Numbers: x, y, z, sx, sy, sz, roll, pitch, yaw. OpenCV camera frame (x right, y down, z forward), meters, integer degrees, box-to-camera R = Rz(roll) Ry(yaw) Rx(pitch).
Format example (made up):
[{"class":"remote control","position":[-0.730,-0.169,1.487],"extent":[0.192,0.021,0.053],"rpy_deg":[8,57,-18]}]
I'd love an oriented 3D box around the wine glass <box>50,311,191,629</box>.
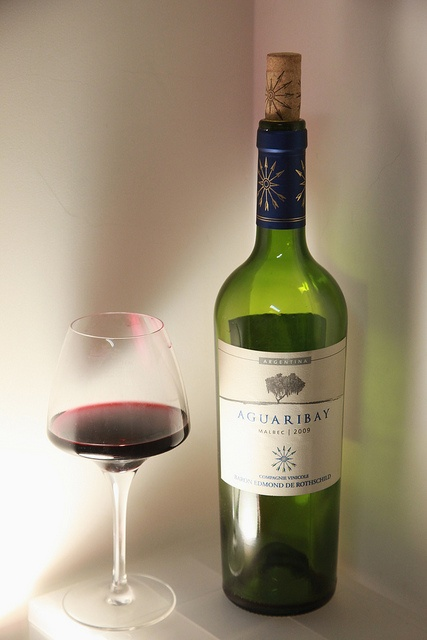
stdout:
[{"class":"wine glass","position":[-0.089,0.127,0.558],"extent":[0.119,0.265,0.140],"rpy_deg":[-3,5,-35]}]

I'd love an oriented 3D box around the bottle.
[{"class":"bottle","position":[0.060,0.025,0.540],"extent":[0.117,0.459,0.129],"rpy_deg":[0,4,0]}]
